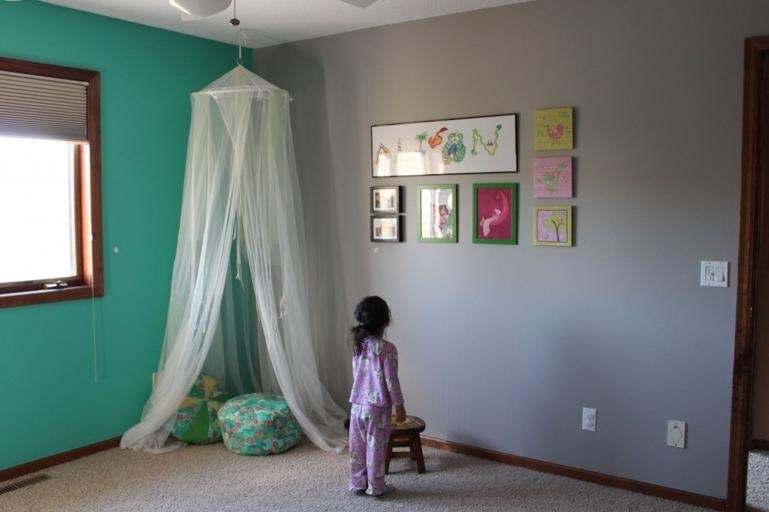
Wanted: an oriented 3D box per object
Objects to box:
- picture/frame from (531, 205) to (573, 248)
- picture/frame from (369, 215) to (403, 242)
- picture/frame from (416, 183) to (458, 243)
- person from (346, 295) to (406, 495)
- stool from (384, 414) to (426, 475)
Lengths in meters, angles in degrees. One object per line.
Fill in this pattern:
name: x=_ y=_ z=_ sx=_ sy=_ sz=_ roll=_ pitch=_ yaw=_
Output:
picture/frame: x=1.212 y=-0.212 z=3.853 sx=0.296 sy=0.323 sz=0.021 roll=1 pitch=2 yaw=31
picture/frame: x=0.021 y=-0.225 z=4.421 sx=0.210 sy=0.182 sz=0.037 roll=2 pitch=3 yaw=35
picture/frame: x=0.414 y=-0.324 z=4.239 sx=0.336 sy=0.469 sz=0.019 roll=2 pitch=10 yaw=20
person: x=-0.065 y=0.954 z=3.734 sx=0.400 sy=1.323 sz=0.412 roll=-2 pitch=13 yaw=-6
stool: x=0.199 y=1.413 z=4.107 sx=0.345 sy=0.393 sz=0.345 roll=-1 pitch=2 yaw=11
